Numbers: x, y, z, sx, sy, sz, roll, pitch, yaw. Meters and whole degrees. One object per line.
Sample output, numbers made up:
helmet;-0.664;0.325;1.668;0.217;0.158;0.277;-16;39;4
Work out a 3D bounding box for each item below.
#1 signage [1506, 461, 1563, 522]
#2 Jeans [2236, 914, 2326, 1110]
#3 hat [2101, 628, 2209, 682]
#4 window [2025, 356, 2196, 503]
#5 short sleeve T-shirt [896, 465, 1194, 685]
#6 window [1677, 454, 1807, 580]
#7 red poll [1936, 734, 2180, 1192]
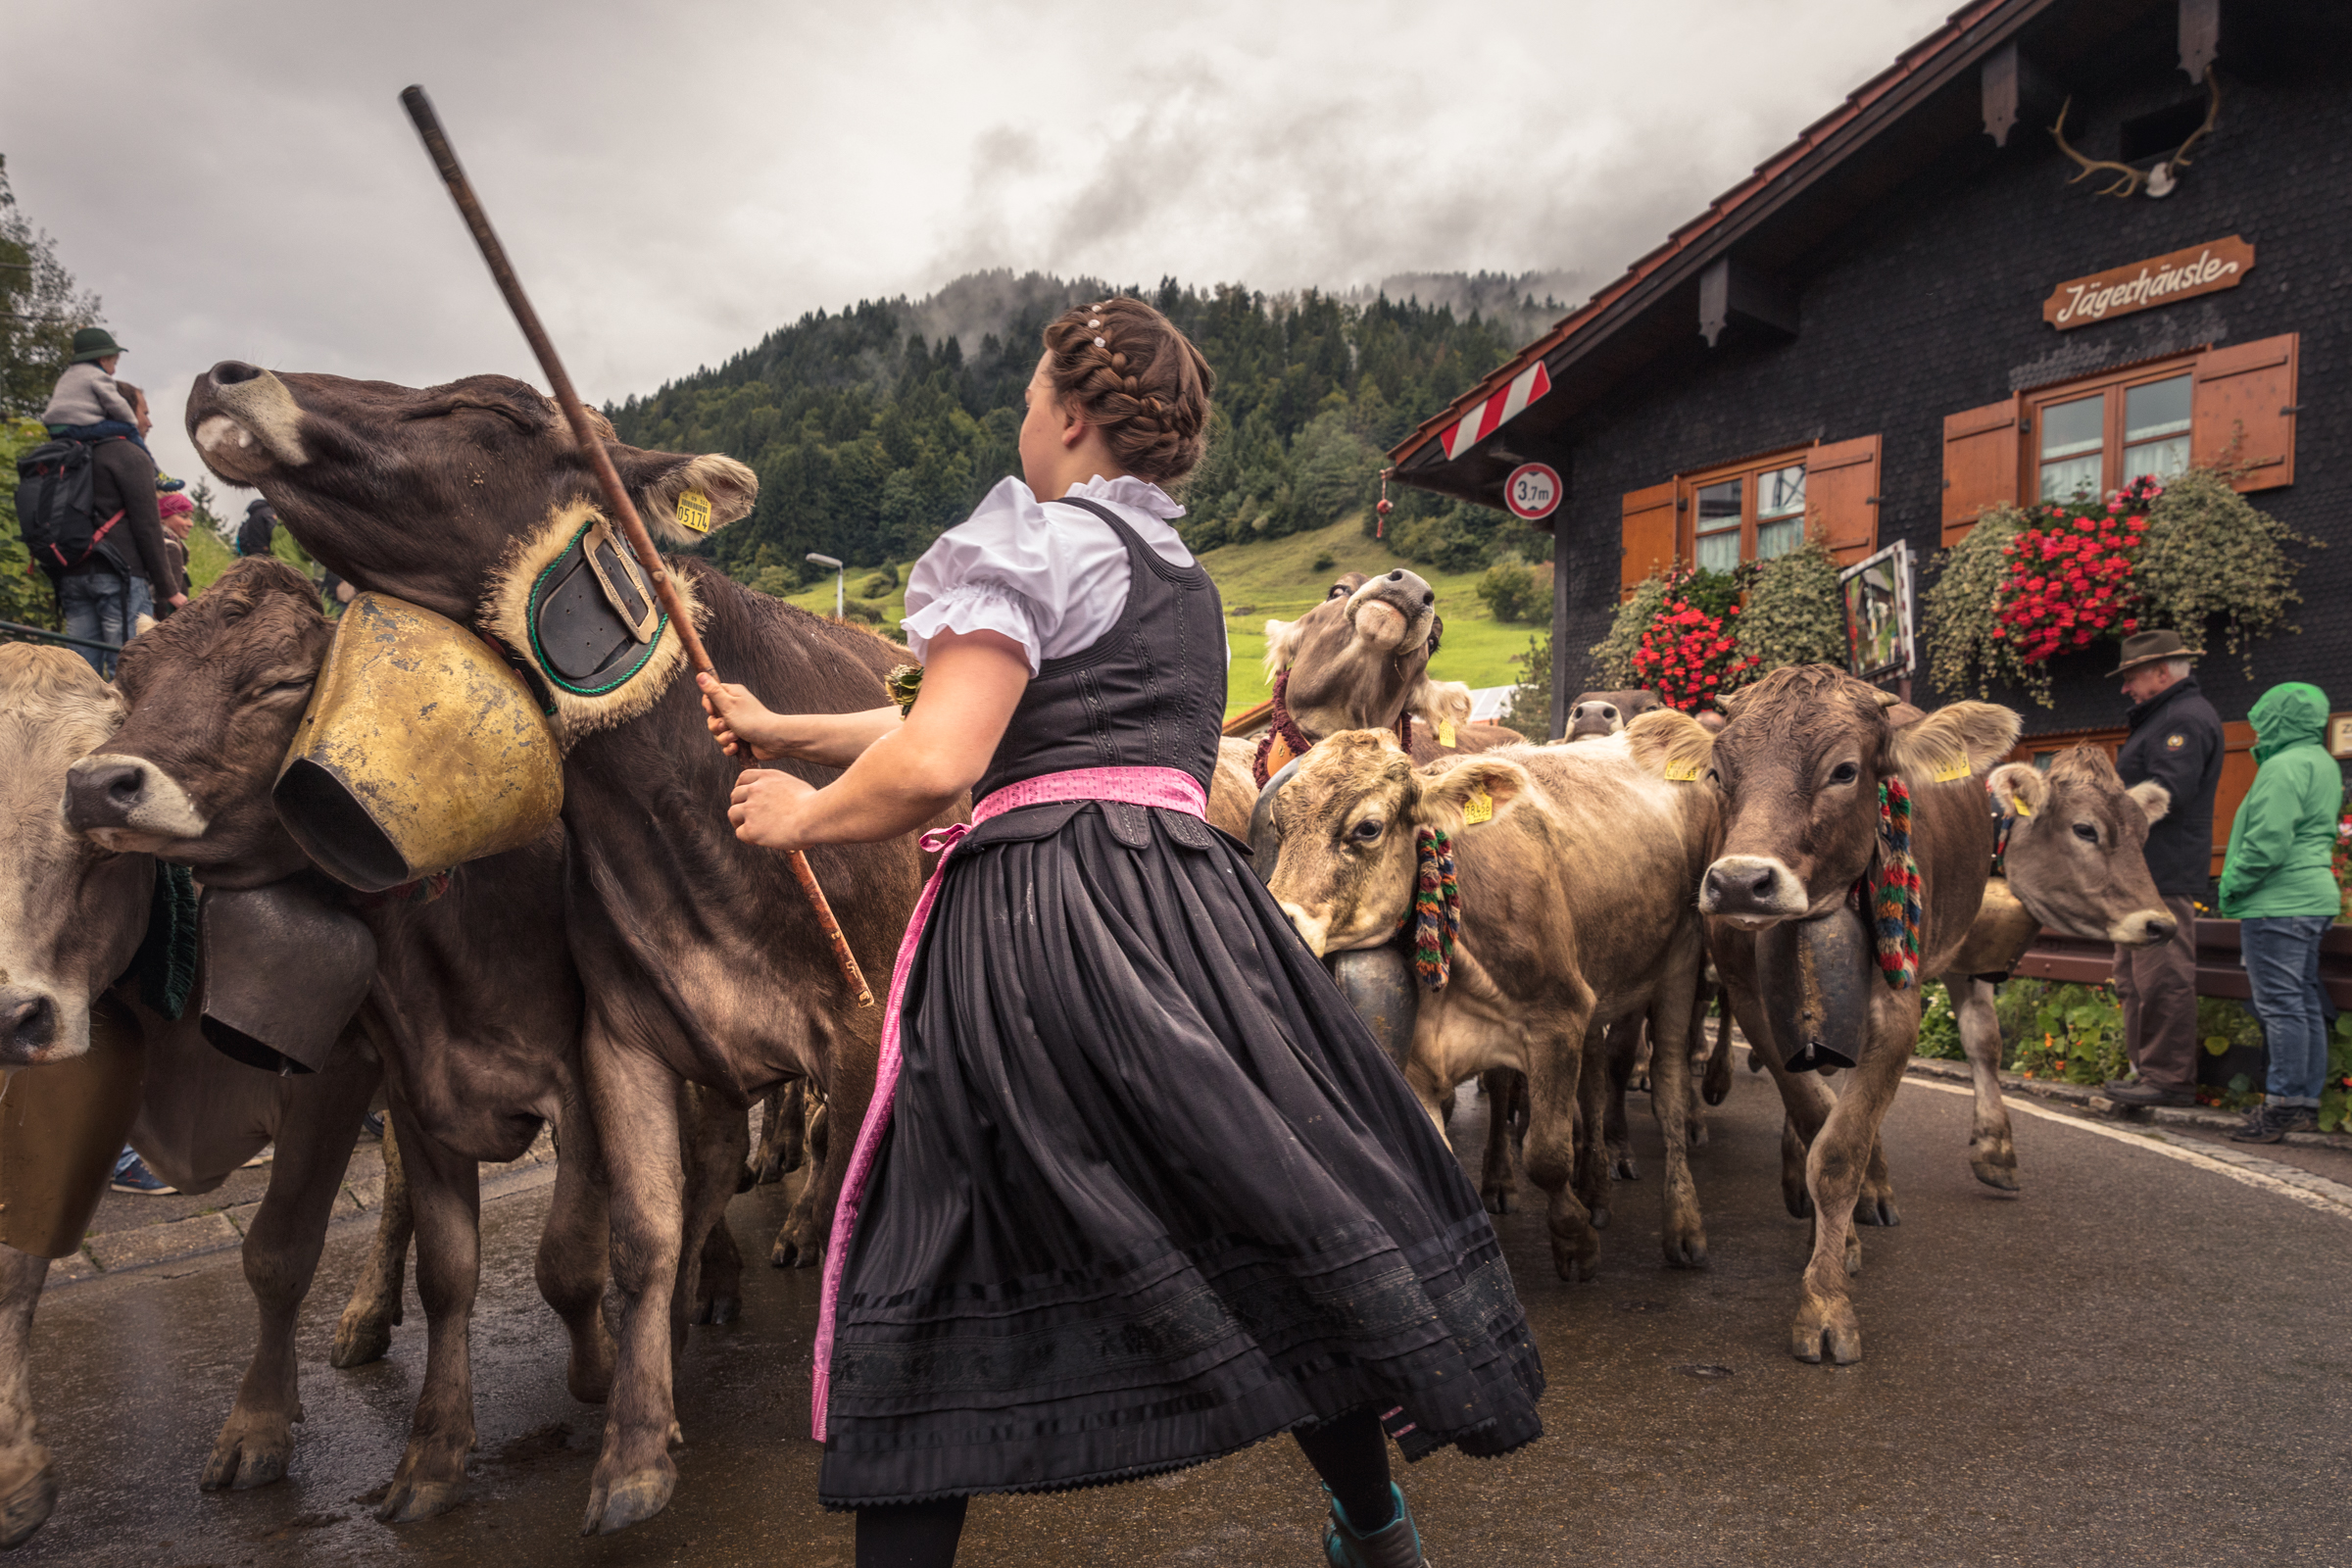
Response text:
signage;3.941;-3.247;17.699;0.084;0.684;0.658;6;11;44
Jeans;6.469;1.308;9.360;0.482;1.204;0.303;4;0;-5
hat;6.287;-0.880;10.305;0.546;0.220;0.493;-9;-6;-36
window;8.112;-3.073;13.919;0.131;1.306;1.343;6;-11;-39
short sleeve T-shirt;-0.338;-0.531;4.147;0.606;0.324;0.488;-12;12;-22
window;5.865;-2.760;16.581;0.143;1.422;1.419;1;-3;-37
red poll;5.257;1.152;10.292;1.073;2.411;3.901;4;-7;6
